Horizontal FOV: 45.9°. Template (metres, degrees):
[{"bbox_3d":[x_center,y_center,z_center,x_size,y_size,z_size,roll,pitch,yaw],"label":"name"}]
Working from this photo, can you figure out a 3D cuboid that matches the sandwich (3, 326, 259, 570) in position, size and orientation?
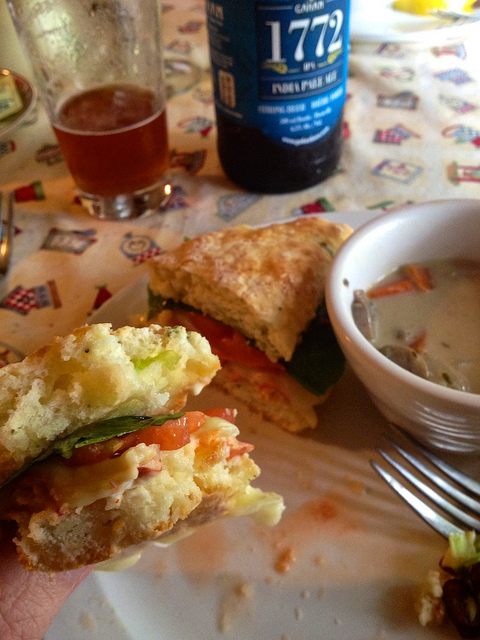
[{"bbox_3d":[-0.230,0.213,1.039,0.379,0.228,0.466,-14,61,-26],"label":"sandwich"}]

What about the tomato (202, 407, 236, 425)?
[{"bbox_3d":[-0.050,0.204,1.236,0.075,0.026,0.041,7,3,-9],"label":"tomato"}]

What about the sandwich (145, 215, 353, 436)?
[{"bbox_3d":[0.099,0.012,1.547,0.505,0.211,0.600,24,82,22],"label":"sandwich"}]

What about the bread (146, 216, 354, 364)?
[{"bbox_3d":[0.049,-0.122,1.479,0.629,0.164,0.500,-10,34,3],"label":"bread"}]

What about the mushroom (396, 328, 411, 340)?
[{"bbox_3d":[0.346,0.031,1.203,0.022,0.006,0.020,8,59,11],"label":"mushroom"}]

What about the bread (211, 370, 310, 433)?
[{"bbox_3d":[0.088,0.217,1.502,0.225,0.160,0.218,19,28,40],"label":"bread"}]
